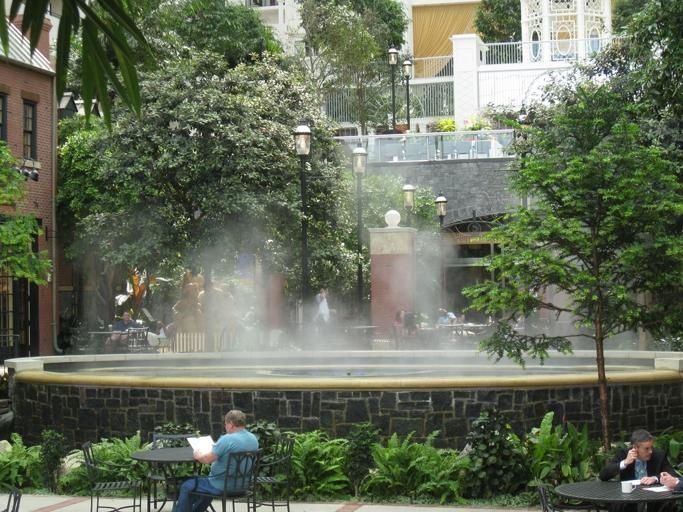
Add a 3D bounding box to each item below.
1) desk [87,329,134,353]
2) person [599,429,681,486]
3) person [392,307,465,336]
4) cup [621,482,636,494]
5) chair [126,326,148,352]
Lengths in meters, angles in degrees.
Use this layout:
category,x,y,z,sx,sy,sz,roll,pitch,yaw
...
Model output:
category,x,y,z,sx,sy,sz,roll,pitch,yaw
desk,-7.454,2.749,34.993,1.373,0.526,0.784,-5,-7,35
person,4.873,3.151,17.830,0.934,1.613,0.858,1,-12,-11
person,2.543,2.176,33.217,1.829,1.214,1.023,-2,1,-22
cup,4.461,3.594,17.047,0.204,0.159,0.140,3,-6,-13
chair,-6.436,2.689,34.655,0.693,1.007,0.637,-6,-32,-4
